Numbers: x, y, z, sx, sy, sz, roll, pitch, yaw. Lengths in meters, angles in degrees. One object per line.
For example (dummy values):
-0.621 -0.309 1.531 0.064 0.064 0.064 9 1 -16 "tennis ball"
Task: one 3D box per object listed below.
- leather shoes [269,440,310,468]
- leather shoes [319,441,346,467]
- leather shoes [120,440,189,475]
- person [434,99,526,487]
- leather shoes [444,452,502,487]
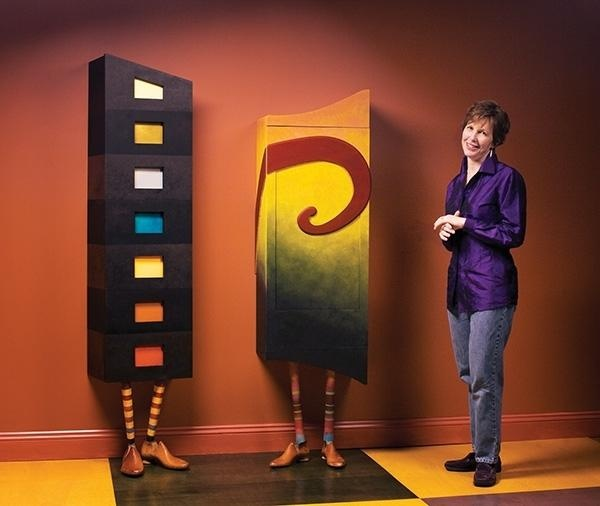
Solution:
-0.054 1.051 3.670 0.226 0.098 0.082 1 -1 -39 "leather shoes"
0.171 1.046 3.695 0.128 0.124 0.264 1 9 1 "leather shoes"
-0.738 1.020 3.483 0.235 0.091 0.177 -2 -8 18 "leather shoes"
0.856 0.192 3.440 0.408 1.852 0.386 6 10 32 "person"
0.838 1.067 3.499 0.111 0.126 0.301 -2 4 -38 "leather shoes"
